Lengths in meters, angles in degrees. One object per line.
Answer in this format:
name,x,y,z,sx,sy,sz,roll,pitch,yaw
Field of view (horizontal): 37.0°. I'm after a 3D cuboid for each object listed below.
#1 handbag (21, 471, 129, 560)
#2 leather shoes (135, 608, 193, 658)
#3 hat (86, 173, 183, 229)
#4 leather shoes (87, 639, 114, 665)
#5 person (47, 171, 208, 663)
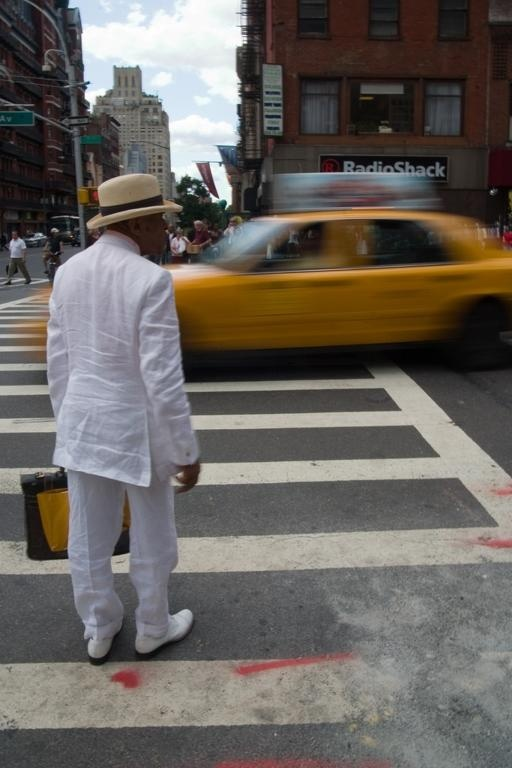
handbag,-0.655,0.481,2.815,0.391,0.321,0.200,-1,8,-6
leather shoes,-0.355,0.964,2.990,0.088,0.104,0.255,11,18,23
hat,-0.426,-0.607,2.669,0.258,0.105,0.224,-16,25,-7
leather shoes,-0.578,0.998,2.844,0.051,0.056,0.137,8,23,0
person,-0.473,0.157,2.747,0.619,1.796,0.451,2,12,17
